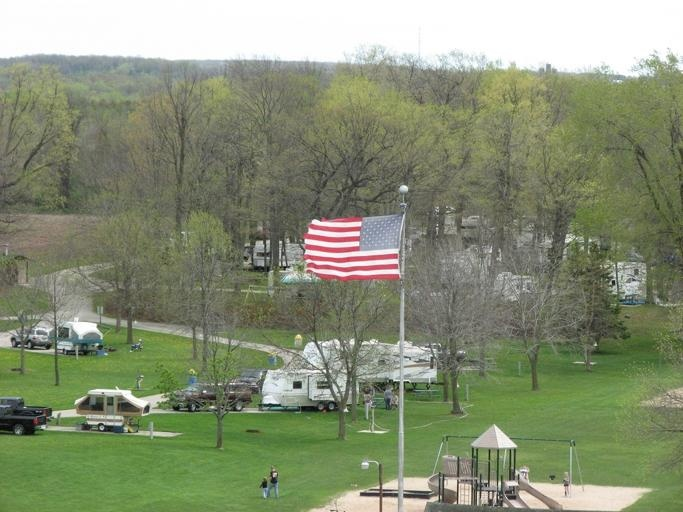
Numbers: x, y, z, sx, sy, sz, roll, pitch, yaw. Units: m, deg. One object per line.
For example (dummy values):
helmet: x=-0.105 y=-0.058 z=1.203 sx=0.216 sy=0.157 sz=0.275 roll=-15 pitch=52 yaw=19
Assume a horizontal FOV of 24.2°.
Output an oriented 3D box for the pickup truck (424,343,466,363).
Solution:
pickup truck: x=9.343 y=8.723 z=145.008 sx=2.654 sy=1.153 sz=2.018 roll=0 pitch=4 yaw=-1

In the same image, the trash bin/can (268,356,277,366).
trash bin/can: x=-6.873 y=10.472 z=159.796 sx=0.920 sy=1.015 sz=0.924 roll=-1 pitch=0 yaw=0

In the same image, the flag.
flag: x=1.002 y=-0.616 z=118.836 sx=6.775 sy=4.677 sz=1.228 roll=-2 pitch=-5 yaw=10

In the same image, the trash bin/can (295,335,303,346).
trash bin/can: x=-4.385 y=8.761 z=163.749 sx=0.740 sy=0.687 sz=1.098 roll=0 pitch=-4 yaw=-4
